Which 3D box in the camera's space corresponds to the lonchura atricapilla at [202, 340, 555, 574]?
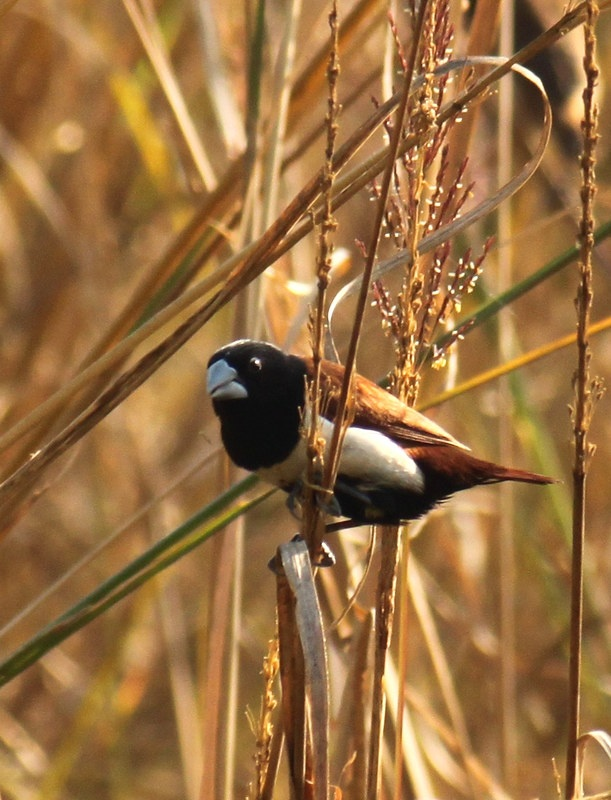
[{"bbox_3d":[0.316,0.110,3.425,1.249,0.416,0.632,1,-96,-1],"label":"lonchura atricapilla"}]
